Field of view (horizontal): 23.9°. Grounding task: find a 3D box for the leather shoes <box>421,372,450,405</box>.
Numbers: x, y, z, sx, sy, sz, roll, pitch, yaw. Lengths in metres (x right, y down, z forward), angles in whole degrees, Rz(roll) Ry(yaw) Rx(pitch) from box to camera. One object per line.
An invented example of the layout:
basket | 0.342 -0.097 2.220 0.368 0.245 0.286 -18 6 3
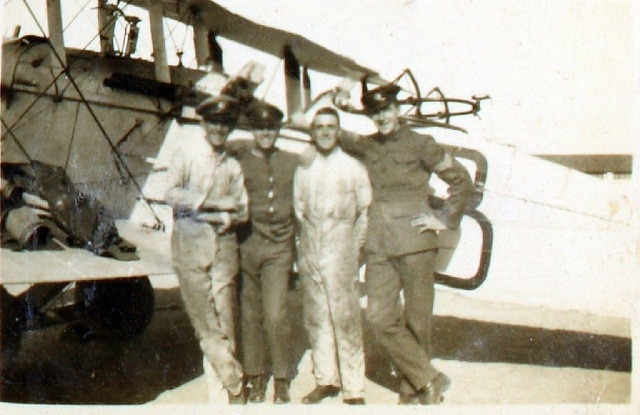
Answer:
leather shoes | 1.016 1.573 13.010 0.184 0.300 0.071 36 -18 10

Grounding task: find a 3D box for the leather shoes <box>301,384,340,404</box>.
leather shoes | 0.027 1.604 13.114 0.381 0.260 0.124 1 8 -1

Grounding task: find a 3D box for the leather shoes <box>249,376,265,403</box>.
leather shoes | -0.521 1.564 13.073 0.212 0.224 0.203 -1 2 7
